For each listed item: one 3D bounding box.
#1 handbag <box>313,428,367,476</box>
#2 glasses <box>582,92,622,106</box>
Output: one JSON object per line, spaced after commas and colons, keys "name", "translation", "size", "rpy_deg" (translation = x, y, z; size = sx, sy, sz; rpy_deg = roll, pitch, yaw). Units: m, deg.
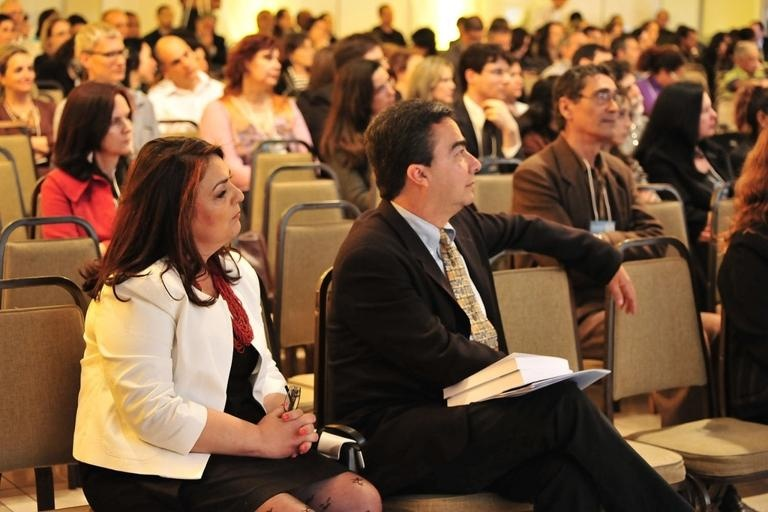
{"name": "handbag", "translation": [-0.163, 0.710, 2.824], "size": [0.167, 0.117, 0.171], "rpy_deg": [20, 9, -20]}
{"name": "glasses", "translation": [1.357, -0.972, 4.532], "size": [0.122, 0.043, 0.128], "rpy_deg": [-3, 3, -26]}
